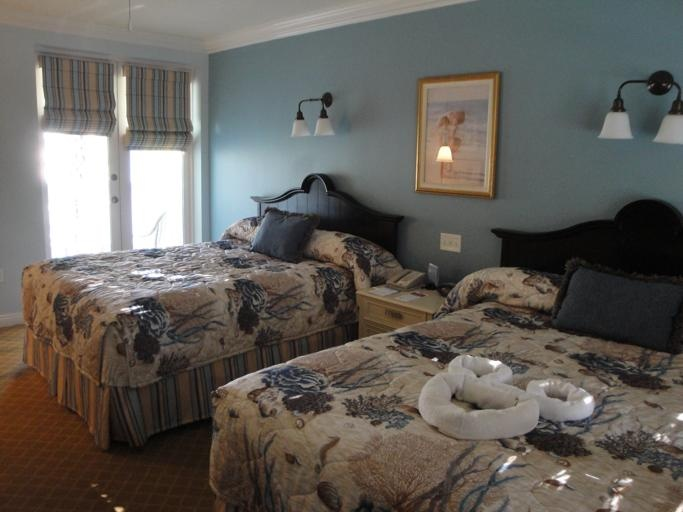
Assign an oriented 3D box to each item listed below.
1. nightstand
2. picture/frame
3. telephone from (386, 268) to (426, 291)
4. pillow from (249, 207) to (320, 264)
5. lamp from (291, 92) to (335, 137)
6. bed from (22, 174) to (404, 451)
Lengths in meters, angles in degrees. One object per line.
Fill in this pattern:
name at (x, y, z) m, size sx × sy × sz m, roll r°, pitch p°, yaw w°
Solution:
nightstand at (0.433, 0.377, 3.781) m, size 0.396 × 0.507 × 0.552 m, roll -10°, pitch 15°, yaw -39°
picture/frame at (0.863, -0.894, 3.848) m, size 0.139 × 0.875 × 0.668 m, roll -12°, pitch 17°, yaw -43°
telephone at (0.514, 0.192, 3.995) m, size 0.194 × 0.076 × 0.183 m, roll -8°, pitch 12°, yaw -37°
pillow at (-0.478, -0.189, 4.300) m, size 0.199 × 0.400 × 0.654 m, roll 28°, pitch -10°, yaw -40°
lamp at (-0.238, -1.266, 4.588) m, size 0.455 × 0.395 × 0.288 m, roll 7°, pitch 15°, yaw 35°
bed at (-0.940, 0.123, 3.996) m, size 2.222 × 1.307 × 1.744 m, roll -7°, pitch 13°, yaw -37°
